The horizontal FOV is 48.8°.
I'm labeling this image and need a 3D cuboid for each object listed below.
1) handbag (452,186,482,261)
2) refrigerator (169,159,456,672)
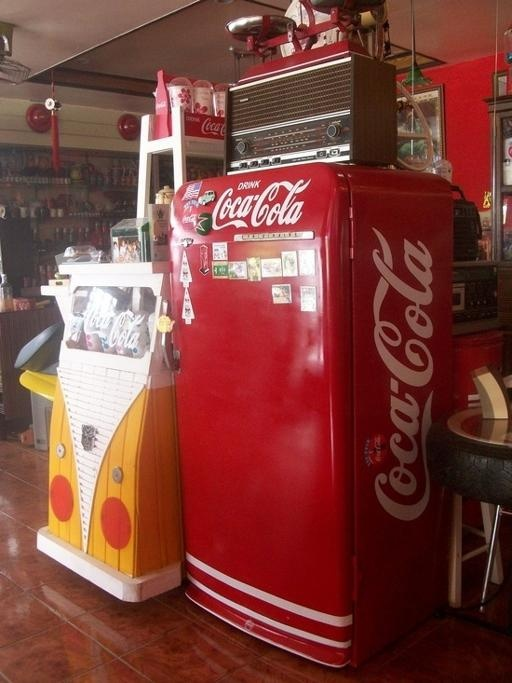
[{"bbox_3d":[0.901,-0.489,2.394,0.101,0.314,0.384,-1,4,22],"label":"handbag"},{"bbox_3d":[0.137,0.205,1.798,0.917,1.496,0.526,-1,4,19],"label":"refrigerator"}]
